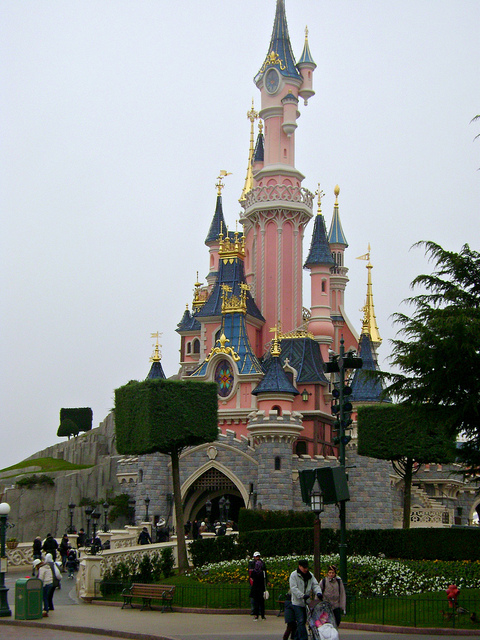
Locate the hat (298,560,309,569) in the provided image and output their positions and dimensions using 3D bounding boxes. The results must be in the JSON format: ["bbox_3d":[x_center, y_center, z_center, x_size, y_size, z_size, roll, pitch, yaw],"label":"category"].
[{"bbox_3d":[0.878,3.352,14.858,0.106,0.131,0.132,-3,-20,-22],"label":"hat"}]

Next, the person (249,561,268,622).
[{"bbox_3d":[0.301,4.759,19.096,0.288,1.012,0.787,-2,-13,1],"label":"person"}]
